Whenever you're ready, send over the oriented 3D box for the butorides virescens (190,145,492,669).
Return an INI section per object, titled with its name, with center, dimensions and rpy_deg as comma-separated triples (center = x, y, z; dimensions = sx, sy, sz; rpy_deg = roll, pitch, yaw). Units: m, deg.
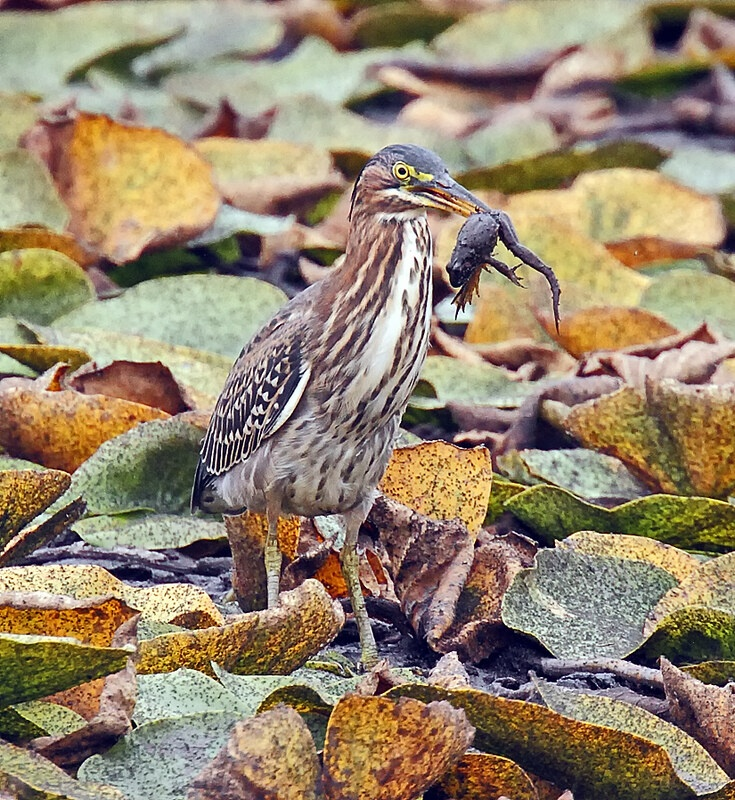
[butorides virescens]
center = -0.099, -0.027, 2.661
dimensions = 0.593, 0.893, 0.906
rpy_deg = 4, 38, 6
